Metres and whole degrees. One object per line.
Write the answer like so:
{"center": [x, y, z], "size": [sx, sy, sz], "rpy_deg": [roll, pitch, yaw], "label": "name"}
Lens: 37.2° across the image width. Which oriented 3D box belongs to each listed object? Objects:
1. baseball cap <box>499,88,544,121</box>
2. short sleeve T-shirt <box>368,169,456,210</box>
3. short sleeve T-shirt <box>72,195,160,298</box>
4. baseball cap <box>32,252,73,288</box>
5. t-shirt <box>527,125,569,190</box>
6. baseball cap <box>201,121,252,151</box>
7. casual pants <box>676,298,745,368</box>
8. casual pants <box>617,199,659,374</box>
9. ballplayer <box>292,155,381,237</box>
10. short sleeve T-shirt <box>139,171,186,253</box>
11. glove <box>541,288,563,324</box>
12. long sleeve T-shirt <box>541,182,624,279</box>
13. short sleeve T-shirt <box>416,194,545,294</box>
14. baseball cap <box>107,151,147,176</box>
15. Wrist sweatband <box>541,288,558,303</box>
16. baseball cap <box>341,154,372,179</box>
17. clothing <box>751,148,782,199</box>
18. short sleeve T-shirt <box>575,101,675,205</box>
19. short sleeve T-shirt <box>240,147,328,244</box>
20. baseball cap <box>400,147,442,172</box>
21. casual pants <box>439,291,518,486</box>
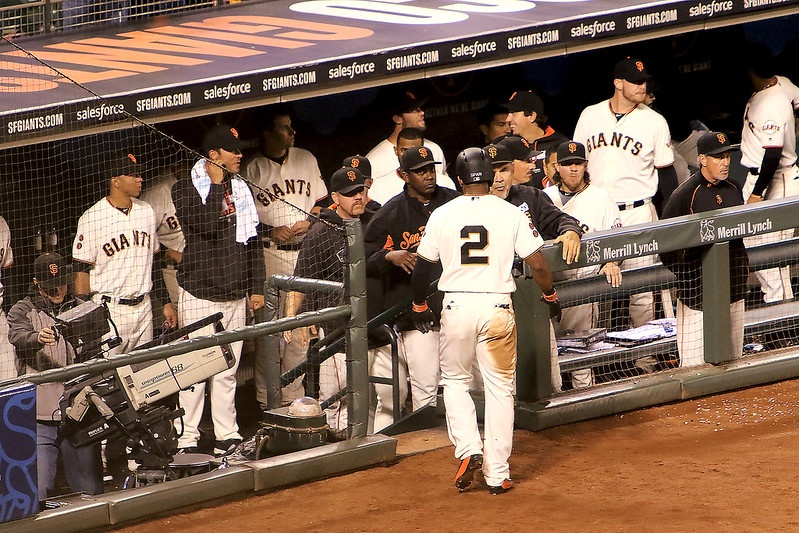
{"center": [1.161, -1.524, 11.142], "size": [0.369, 0.173, 0.234], "rpy_deg": [13, 9, -11], "label": "baseball cap"}
{"center": [0.095, -0.647, 10.762], "size": [0.880, 0.475, 0.374], "rpy_deg": [-6, 4, -7], "label": "short sleeve T-shirt"}
{"center": [-2.395, -0.144, 10.089], "size": [1.122, 0.869, 0.601], "rpy_deg": [-1, 0, -40], "label": "short sleeve T-shirt"}
{"center": [-2.818, 0.030, 9.714], "size": [0.344, 0.168, 0.248], "rpy_deg": [21, 33, 39], "label": "baseball cap"}
{"center": [1.360, -1.025, 11.064], "size": [0.513, 0.543, 0.301], "rpy_deg": [0, -33, 2], "label": "t-shirt"}
{"center": [-1.495, -1.122, 10.358], "size": [0.361, 0.143, 0.234], "rpy_deg": [-5, 6, 6], "label": "baseball cap"}
{"center": [2.544, 0.526, 9.737], "size": [0.665, 0.392, 0.166], "rpy_deg": [-7, 3, -11], "label": "casual pants"}
{"center": [2.138, 0.133, 10.400], "size": [0.349, 1.088, 1.624], "rpy_deg": [-9, 2, 12], "label": "casual pants"}
{"center": [-0.546, -0.588, 10.273], "size": [0.778, 0.612, 1.140], "rpy_deg": [-1, 14, -9], "label": "ballplayer"}
{"center": [-2.056, -0.471, 10.517], "size": [0.632, 0.596, 0.269], "rpy_deg": [9, -20, -31], "label": "short sleeve T-shirt"}
{"center": [1.133, 0.302, 8.815], "size": [0.240, 0.249, 0.106], "rpy_deg": [7, 14, 11], "label": "glove"}
{"center": [1.444, -0.259, 9.486], "size": [0.916, 0.779, 0.467], "rpy_deg": [-4, 15, 9], "label": "long sleeve T-shirt"}
{"center": [0.605, -0.146, 8.465], "size": [0.967, 0.565, 0.324], "rpy_deg": [2, 11, 10], "label": "short sleeve T-shirt"}
{"center": [-2.329, -0.871, 10.201], "size": [0.280, 0.166, 0.194], "rpy_deg": [-3, -4, 1], "label": "baseball cap"}
{"center": [1.080, 0.190, 8.693], "size": [0.163, 0.069, 0.133], "rpy_deg": [-7, -30, 1], "label": "Wrist sweatband"}
{"center": [-0.363, -0.846, 10.188], "size": [0.195, 0.126, 0.254], "rpy_deg": [6, 17, 16], "label": "baseball cap"}
{"center": [3.571, -0.905, 11.462], "size": [0.172, 0.413, 0.352], "rpy_deg": [13, -1, -9], "label": "clothing"}
{"center": [2.096, -1.079, 11.197], "size": [1.096, 0.880, 0.624], "rpy_deg": [13, 28, 40], "label": "short sleeve T-shirt"}
{"center": [-1.055, -0.608, 10.691], "size": [0.883, 0.763, 0.463], "rpy_deg": [-17, 19, -28], "label": "short sleeve T-shirt"}
{"center": [0.134, -0.857, 9.529], "size": [0.274, 0.129, 0.201], "rpy_deg": [-3, 8, 41], "label": "baseball cap"}
{"center": [0.587, 0.850, 8.350], "size": [0.573, 1.086, 0.321], "rpy_deg": [-9, 3, 4], "label": "casual pants"}
